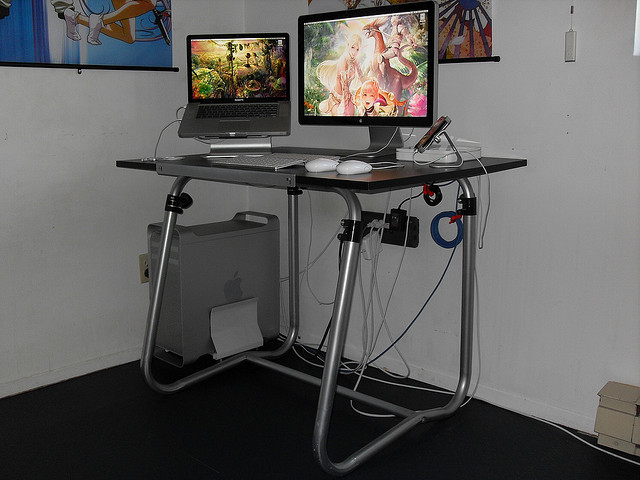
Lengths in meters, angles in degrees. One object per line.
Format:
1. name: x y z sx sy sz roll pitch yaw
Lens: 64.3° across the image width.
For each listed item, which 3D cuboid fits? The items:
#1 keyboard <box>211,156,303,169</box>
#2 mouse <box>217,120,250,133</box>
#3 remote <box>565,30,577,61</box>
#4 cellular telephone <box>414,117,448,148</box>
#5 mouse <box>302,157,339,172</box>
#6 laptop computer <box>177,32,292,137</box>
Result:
1. keyboard: -0.243 -0.290 1.905 0.184 0.025 0.412 -13 20 -37
2. mouse: -0.369 -0.482 2.203 0.098 0.022 0.069 2 44 8
3. remote: 0.978 -0.752 1.991 0.048 0.114 0.036 6 16 25
4. cellular telephone: 0.414 -0.390 1.882 0.108 0.108 0.043 -6 15 -21
5. mouse: 0.001 -0.252 1.740 0.166 0.036 0.119 5 17 18
6. laptop computer: -0.377 -0.686 2.271 0.486 0.435 0.317 -1 15 -2
